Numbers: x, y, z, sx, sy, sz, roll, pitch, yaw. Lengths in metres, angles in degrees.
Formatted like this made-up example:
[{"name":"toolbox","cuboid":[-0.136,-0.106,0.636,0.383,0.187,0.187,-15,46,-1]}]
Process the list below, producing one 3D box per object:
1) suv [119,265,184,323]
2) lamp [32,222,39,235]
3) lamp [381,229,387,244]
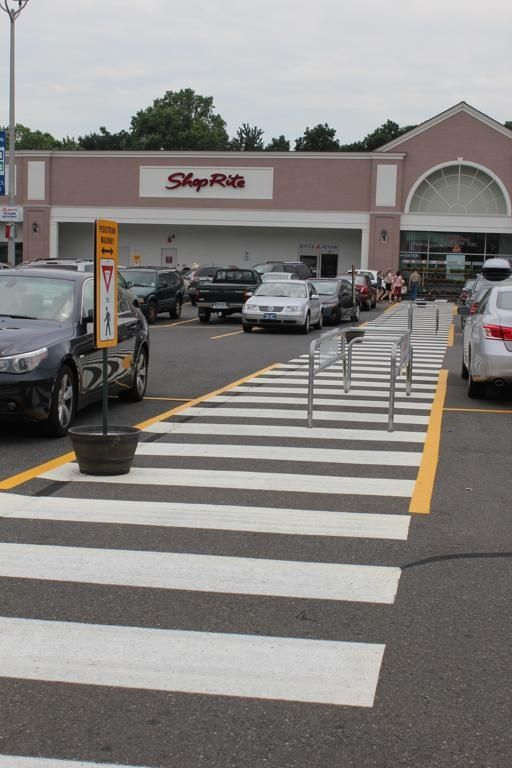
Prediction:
[{"name":"suv","cuboid":[-4.377,-3.750,28.455,1.765,1.736,3.501,1,6,13]},{"name":"lamp","cuboid":[-16.572,-11.667,50.629,0.445,0.873,0.248,0,2,-17]},{"name":"lamp","cuboid":[8.904,-10.233,46.906,0.461,0.924,0.207,0,2,-8]}]
